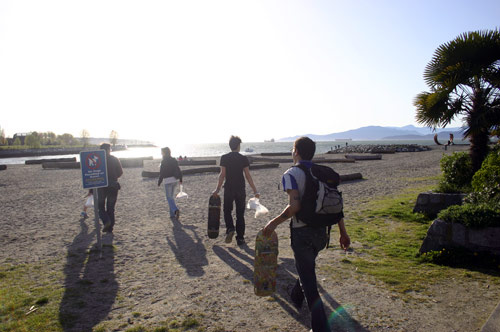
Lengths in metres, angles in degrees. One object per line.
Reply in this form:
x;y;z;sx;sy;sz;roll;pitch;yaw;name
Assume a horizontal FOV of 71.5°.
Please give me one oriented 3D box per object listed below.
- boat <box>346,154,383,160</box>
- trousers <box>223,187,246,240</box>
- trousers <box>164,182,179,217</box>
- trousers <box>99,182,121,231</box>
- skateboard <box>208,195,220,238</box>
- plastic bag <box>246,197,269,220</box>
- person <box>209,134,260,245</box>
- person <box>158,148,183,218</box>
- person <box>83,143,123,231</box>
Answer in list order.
11.650;-0.909;35.421;3.405;0.535;0.828;-2;3;1;boat
-0.383;1.211;8.742;0.558;1.360;0.373;-3;5;-6;trousers
-2.612;1.043;11.561;0.393;1.137;1.516;-4;6;-13;trousers
-3.999;1.149;9.786;0.488;1.408;0.590;1;6;30;trousers
-0.935;1.304;8.905;0.341;1.118;0.259;-4;6;-11;skateboard
0.223;1.315;10.479;0.581;0.835;0.409;-6;2;38;plastic bag
-0.383;0.646;8.715;1.009;2.768;0.568;-4;6;-11;person
-2.523;0.550;11.054;0.704;2.207;0.630;-3;5;-1;person
-4.267;0.621;9.903;1.114;2.530;0.930;1;10;-3;person
